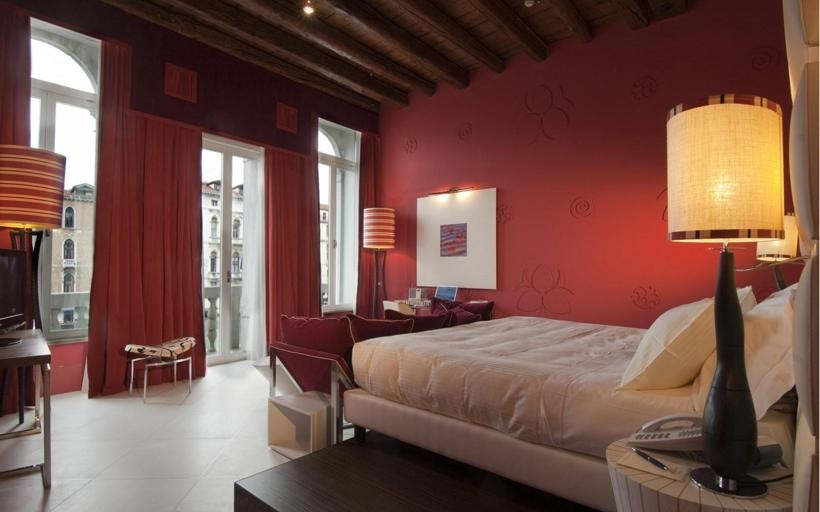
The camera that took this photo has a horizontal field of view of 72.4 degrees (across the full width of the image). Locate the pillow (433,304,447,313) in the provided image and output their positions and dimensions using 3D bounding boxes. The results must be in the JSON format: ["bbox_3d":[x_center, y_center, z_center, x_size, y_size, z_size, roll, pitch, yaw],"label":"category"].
[{"bbox_3d":[0.331,0.598,6.275,0.108,0.033,0.115,-8,7,21],"label":"pillow"}]

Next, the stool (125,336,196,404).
[{"bbox_3d":[-2.655,1.201,5.954,0.635,0.469,0.570,3,-5,-39],"label":"stool"}]

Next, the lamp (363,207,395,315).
[{"bbox_3d":[-0.407,0.091,8.072,0.501,1.257,0.649,-3,-1,-5],"label":"lamp"}]

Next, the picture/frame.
[{"bbox_3d":[0.671,-0.233,7.525,1.411,1.420,0.030,-1,-3,41],"label":"picture/frame"}]

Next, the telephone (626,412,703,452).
[{"bbox_3d":[1.497,1.044,3.263,0.312,0.108,0.235,-3,-3,27],"label":"telephone"}]

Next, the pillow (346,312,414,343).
[{"bbox_3d":[-0.262,0.611,4.748,0.318,0.117,0.305,-4,9,-30],"label":"pillow"}]

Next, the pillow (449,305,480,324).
[{"bbox_3d":[0.535,0.596,5.871,0.226,0.067,0.201,-8,19,-15],"label":"pillow"}]
